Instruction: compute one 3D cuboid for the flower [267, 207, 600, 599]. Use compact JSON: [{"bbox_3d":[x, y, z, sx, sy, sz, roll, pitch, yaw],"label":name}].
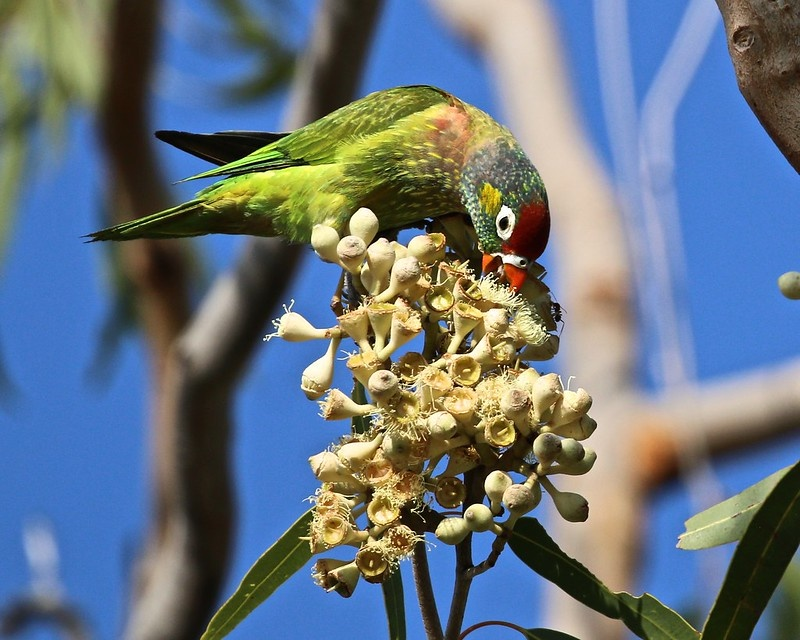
[{"bbox_3d":[0.106,0.212,3.812,0.768,0.654,1.019,-19,105,-18],"label":"flower"}]
